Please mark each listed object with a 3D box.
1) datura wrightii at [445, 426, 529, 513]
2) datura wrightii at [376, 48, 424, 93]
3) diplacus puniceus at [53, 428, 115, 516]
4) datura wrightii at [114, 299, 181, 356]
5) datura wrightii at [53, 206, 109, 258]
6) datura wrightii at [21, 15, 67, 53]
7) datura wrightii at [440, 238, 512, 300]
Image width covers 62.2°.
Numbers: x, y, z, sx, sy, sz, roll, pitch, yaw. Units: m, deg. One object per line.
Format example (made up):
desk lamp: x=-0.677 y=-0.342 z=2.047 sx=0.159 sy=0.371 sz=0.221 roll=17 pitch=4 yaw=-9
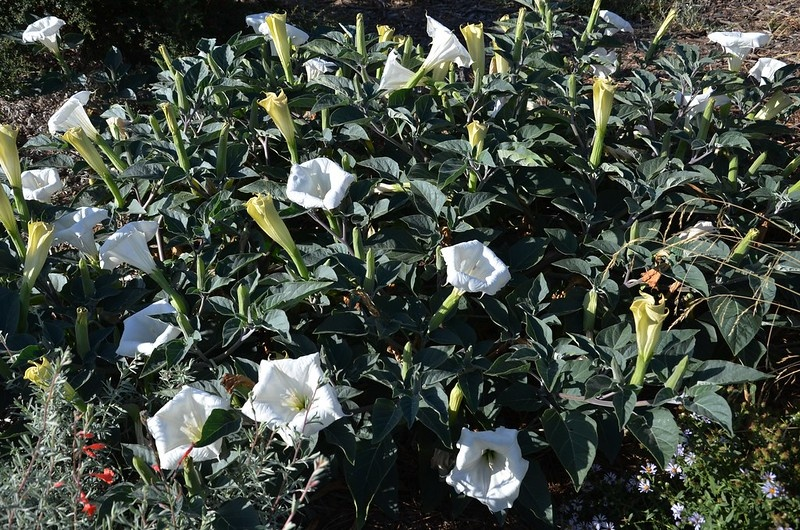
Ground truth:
datura wrightii: x=0.362 y=0.814 z=2.666 sx=0.274 sy=0.321 sz=0.203 roll=17 pitch=38 yaw=17
datura wrightii: x=-0.004 y=-0.989 z=3.361 sx=0.181 sy=0.194 sz=0.160 roll=4 pitch=36 yaw=-2
diplacus puniceus: x=-1.169 y=0.768 z=2.430 sx=0.224 sy=0.319 sz=0.246 roll=-11 pitch=20 yaw=-35
datura wrightii: x=-1.043 y=0.272 z=2.718 sx=0.236 sy=0.098 sz=0.241 roll=-29 pitch=43 yaw=3
datura wrightii: x=-1.404 y=-0.154 z=2.929 sx=0.222 sy=0.219 sz=0.188 roll=-13 pitch=39 yaw=-24
datura wrightii: x=-2.028 y=-1.304 z=3.844 sx=0.234 sy=0.107 sz=0.228 roll=-24 pitch=48 yaw=-15
datura wrightii: x=0.308 y=0.019 z=2.729 sx=0.250 sy=0.182 sz=0.193 roll=-10 pitch=38 yaw=-21
